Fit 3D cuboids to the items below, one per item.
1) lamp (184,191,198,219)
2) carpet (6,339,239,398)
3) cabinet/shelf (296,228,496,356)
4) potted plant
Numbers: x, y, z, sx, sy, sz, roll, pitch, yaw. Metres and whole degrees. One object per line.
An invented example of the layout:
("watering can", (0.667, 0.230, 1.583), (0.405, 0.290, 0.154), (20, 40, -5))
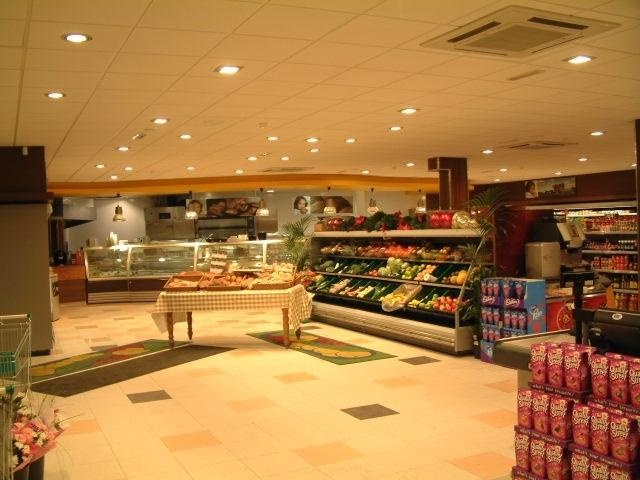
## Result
("lamp", (-4.386, -1.236, 14.950), (0.442, 0.940, 2.256), (-3, 0, -16))
("carpet", (-3.072, 1.893, 6.656), (2.028, 0.046, 2.712), (-2, 0, 35))
("cabinet/shelf", (1.245, 0.756, 8.422), (1.165, 1.733, 4.487), (-12, 7, -29))
("potted plant", (2.486, 0.457, 6.473), (0.760, 2.509, 0.900), (-4, 0, 35))
